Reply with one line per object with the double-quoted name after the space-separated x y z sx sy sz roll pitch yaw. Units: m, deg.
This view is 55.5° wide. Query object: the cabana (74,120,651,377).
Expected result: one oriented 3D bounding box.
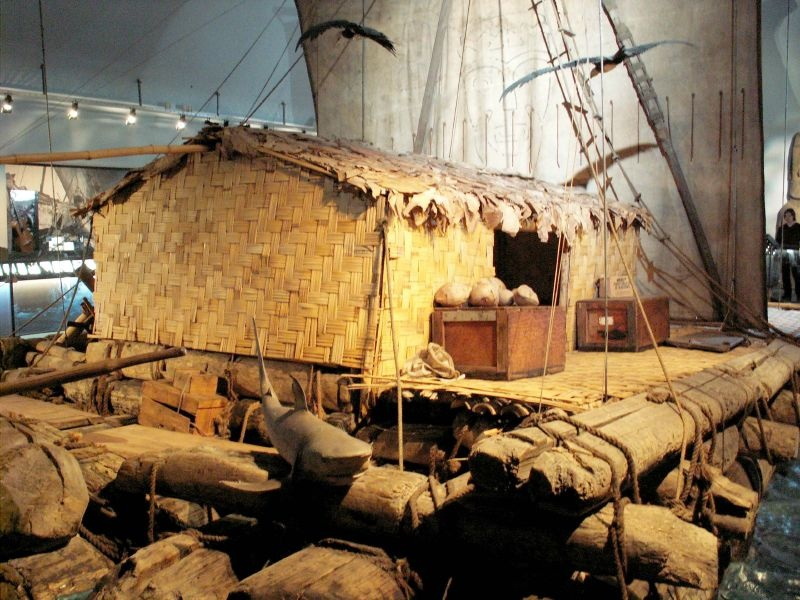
-0.693 -0.211 14.840 6.333 3.704 9.346 3 -7 28 "cabana"
